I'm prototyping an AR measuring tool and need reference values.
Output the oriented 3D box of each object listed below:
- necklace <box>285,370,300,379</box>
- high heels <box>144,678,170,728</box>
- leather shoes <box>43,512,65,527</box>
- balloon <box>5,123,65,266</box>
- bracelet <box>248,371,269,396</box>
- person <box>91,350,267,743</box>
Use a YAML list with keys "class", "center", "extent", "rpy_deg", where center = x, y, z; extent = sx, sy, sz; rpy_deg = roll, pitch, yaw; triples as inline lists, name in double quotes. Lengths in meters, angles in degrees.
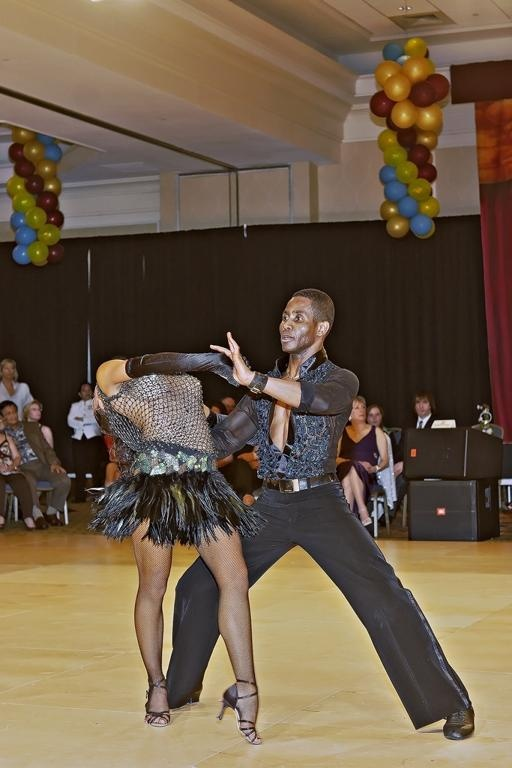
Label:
- class: "necklace"
  center: [0.101, -0.024, 1.814]
  extent: [0.026, 0.030, 0.029]
  rpy_deg: [2, -16, 9]
- class: "high heels"
  center: [-0.257, 0.848, 1.714]
  extent: [0.051, 0.065, 0.159]
  rpy_deg: [-1, -14, -7]
- class: "leather shoes"
  center: [-2.514, 1.677, 8.074]
  extent: [0.166, 0.154, 0.439]
  rpy_deg: [6, -7, -36]
- class: "balloon"
  center: [-3.178, -2.705, 9.243]
  extent: [0.782, 1.871, 0.717]
  rpy_deg: [-4, -13, 20]
- class: "bracelet"
  center: [-0.002, -0.002, 1.414]
  extent: [0.019, 0.043, 0.048]
  rpy_deg: [16, -5, -1]
- class: "person"
  center: [-0.243, 0.403, 1.692]
  extent: [0.537, 0.981, 0.389]
  rpy_deg: [-4, -13, 17]
